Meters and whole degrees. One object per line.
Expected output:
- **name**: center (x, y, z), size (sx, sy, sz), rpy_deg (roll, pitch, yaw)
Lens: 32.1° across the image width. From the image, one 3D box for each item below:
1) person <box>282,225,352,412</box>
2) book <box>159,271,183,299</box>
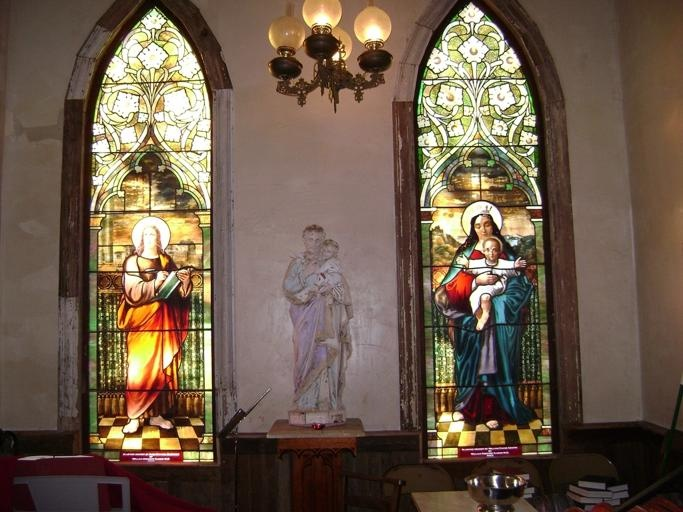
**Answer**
- **person**: center (-0.196, 0.521, 10.041), size (0.564, 1.602, 0.224), rpy_deg (-2, -9, -3)
- **book**: center (-1.500, 0.254, 10.406), size (0.142, 0.246, 0.025), rpy_deg (36, -1, 4)
